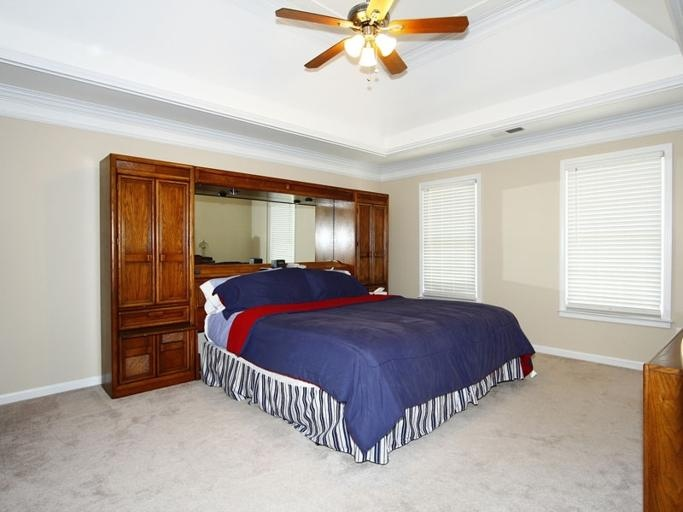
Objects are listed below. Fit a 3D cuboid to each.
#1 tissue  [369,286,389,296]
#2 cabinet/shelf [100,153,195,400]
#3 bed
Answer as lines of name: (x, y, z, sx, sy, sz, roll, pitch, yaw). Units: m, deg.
tissue : (0.587, 0.527, 6.695, 0.164, 0.107, 0.168, -2, 1, -37)
cabinet/shelf: (-2.053, 0.178, 4.746, 1.026, 2.536, 0.604, -7, 14, -27)
bed: (0.221, 0.860, 4.829, 2.718, 1.176, 2.479, 11, 16, 42)
